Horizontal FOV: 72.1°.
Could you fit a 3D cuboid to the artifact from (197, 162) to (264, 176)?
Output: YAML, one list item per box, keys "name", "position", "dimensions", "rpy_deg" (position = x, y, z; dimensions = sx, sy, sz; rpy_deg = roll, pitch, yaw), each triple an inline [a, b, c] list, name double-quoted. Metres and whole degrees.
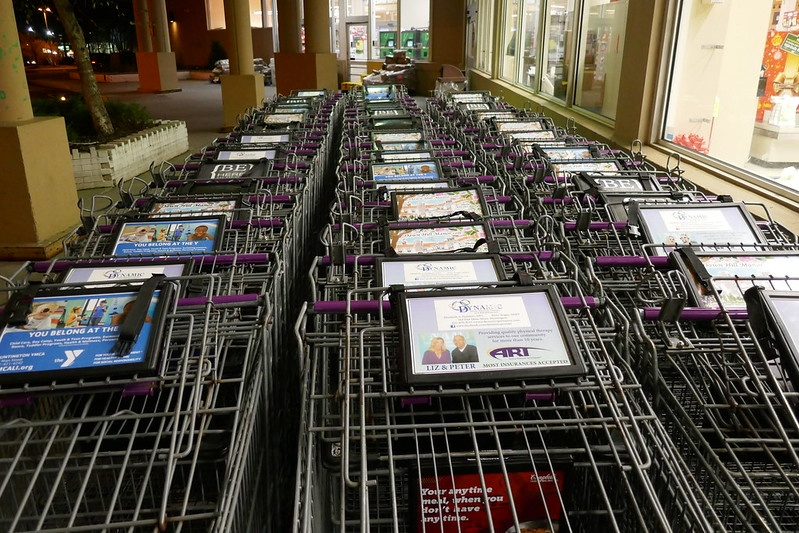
- name: "artifact"
  position: [-1.166, -0.687, 3.855]
  dimensions: [0.317, 0.072, 0.178]
  rpy_deg: [-2, 29, 0]
